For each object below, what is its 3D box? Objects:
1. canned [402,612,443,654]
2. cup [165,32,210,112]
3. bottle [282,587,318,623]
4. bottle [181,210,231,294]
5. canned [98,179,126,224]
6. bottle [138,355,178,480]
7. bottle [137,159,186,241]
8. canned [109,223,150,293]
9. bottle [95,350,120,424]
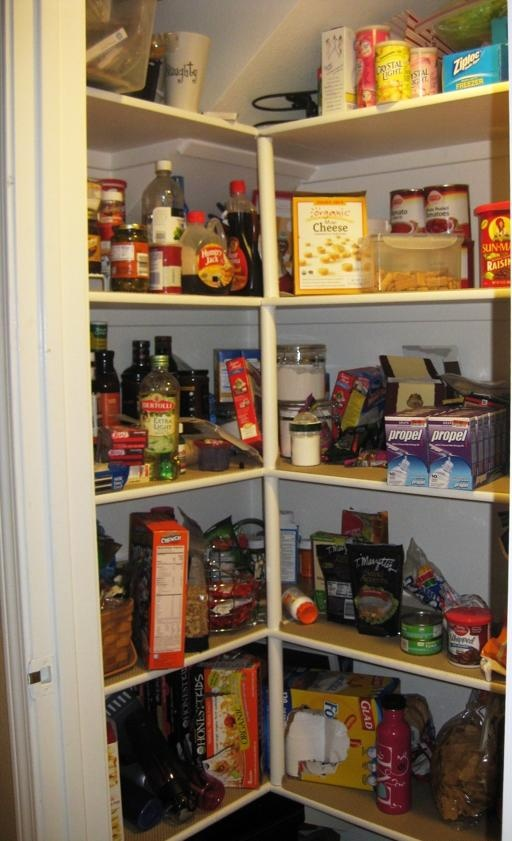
[{"bbox_3d":[0.354,0.438,1.382,0.070,0.052,0.074,0,1,3],"label":"canned"},{"bbox_3d":[-0.143,-0.718,1.363,0.100,0.151,0.047,-5,5,-6],"label":"cup"},{"bbox_3d":[0.106,0.441,1.589,0.068,0.072,0.112,-12,8,0],"label":"bottle"},{"bbox_3d":[-0.096,-0.360,1.434,0.087,0.173,0.192,-3,6,16],"label":"bottle"},{"bbox_3d":[-0.287,-0.437,1.315,0.053,0.105,0.136,-5,6,-10],"label":"canned"},{"bbox_3d":[-0.192,-0.005,1.333,0.087,0.251,0.112,-6,6,-15],"label":"bottle"},{"bbox_3d":[-0.199,-0.472,1.415,0.090,0.206,0.311,-5,6,-6],"label":"bottle"},{"bbox_3d":[-0.238,-0.299,1.222,0.075,0.120,0.048,-6,6,-10],"label":"canned"},{"bbox_3d":[-0.304,-0.070,1.356,0.035,0.152,0.074,-2,6,25],"label":"bottle"}]
